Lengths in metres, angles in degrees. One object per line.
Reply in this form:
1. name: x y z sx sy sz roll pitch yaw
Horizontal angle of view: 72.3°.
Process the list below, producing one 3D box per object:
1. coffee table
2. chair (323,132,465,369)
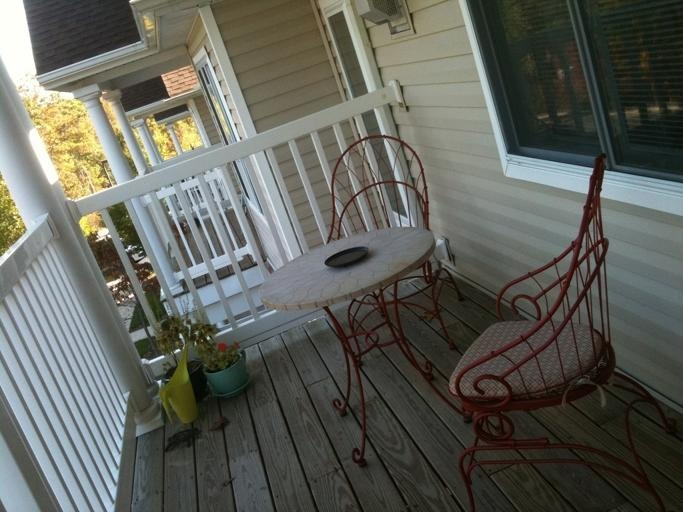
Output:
1. coffee table: 0.161 0.459 2.796 0.924 0.987 0.907 -7 23 23
2. chair: 0.385 -0.314 3.675 0.964 1.497 1.120 -14 -3 19
